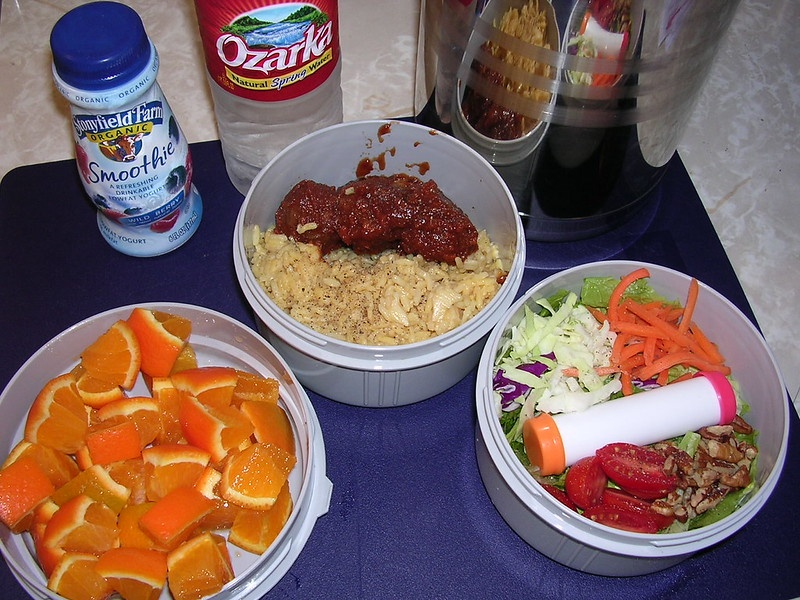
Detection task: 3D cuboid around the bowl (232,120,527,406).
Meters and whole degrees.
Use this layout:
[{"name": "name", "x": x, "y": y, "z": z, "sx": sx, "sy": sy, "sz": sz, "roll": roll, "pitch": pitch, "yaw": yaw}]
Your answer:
[{"name": "bowl", "x": -0.057, "y": -0.010, "z": 1.621, "sx": 0.613, "sy": 0.247, "sz": 0.682, "roll": 26, "pitch": 63, "yaw": 10}]

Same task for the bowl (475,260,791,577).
[{"name": "bowl", "x": 0.461, "y": 0.220, "z": 1.344, "sx": 0.623, "sy": 0.203, "sz": 0.614, "roll": 0, "pitch": 63, "yaw": 1}]
